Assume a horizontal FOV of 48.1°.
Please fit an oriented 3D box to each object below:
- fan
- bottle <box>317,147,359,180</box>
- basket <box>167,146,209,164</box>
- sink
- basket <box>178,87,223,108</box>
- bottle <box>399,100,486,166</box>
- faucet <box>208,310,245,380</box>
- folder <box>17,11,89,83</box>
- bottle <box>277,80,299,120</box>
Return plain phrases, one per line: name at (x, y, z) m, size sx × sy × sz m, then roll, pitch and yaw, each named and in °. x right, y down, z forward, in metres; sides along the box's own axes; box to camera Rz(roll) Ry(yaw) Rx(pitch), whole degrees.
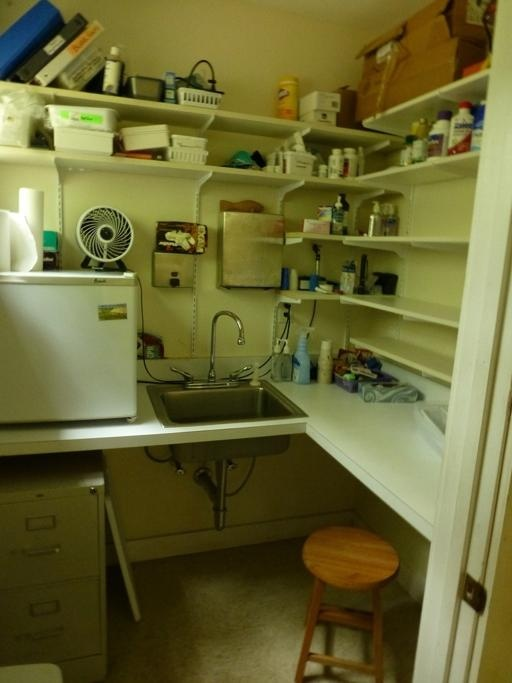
fan at (-0.586, -0.399, 2.225) m, size 0.197 × 0.238 × 0.228 m, roll 0°, pitch 11°, yaw -11°
bottle at (0.360, -0.755, 2.427) m, size 0.182 × 0.164 × 0.127 m, roll -3°, pitch 19°, yaw -14°
basket at (-0.263, -0.698, 2.149) m, size 0.098 × 0.034 × 0.075 m, roll -10°, pitch 27°, yaw -29°
sink at (-0.140, 0.294, 2.268) m, size 0.565 × 0.143 × 0.522 m, roll 0°, pitch 11°, yaw -13°
basket at (-0.209, -0.891, 2.121) m, size 0.122 × 0.041 × 0.086 m, roll -7°, pitch 23°, yaw -24°
bottle at (0.551, -0.698, 1.921) m, size 0.145 × 0.193 × 0.486 m, roll -3°, pitch 16°, yaw -12°
faucet at (-0.131, 0.025, 2.420) m, size 0.152 × 0.321 × 0.427 m, roll 2°, pitch 11°, yaw -2°
folder at (-0.700, -0.939, 1.950) m, size 0.236 × 0.056 × 0.232 m, roll -17°, pitch 31°, yaw 48°
bottle at (0.128, -1.013, 2.405) m, size 0.105 × 0.161 × 0.099 m, roll 0°, pitch 19°, yaw 0°
